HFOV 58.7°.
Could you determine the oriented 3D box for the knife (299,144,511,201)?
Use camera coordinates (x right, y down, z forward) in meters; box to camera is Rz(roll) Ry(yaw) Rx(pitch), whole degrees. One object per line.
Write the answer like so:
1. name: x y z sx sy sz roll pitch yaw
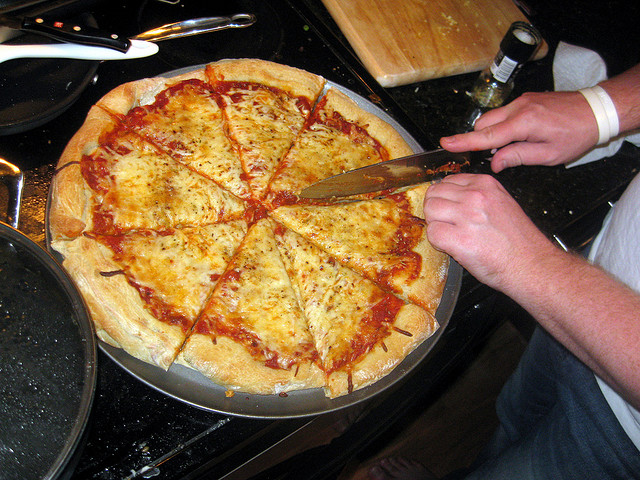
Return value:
1. knife: 0.437 -0.368 3.193 1.375 0.056 0.170 -12 -64 1
